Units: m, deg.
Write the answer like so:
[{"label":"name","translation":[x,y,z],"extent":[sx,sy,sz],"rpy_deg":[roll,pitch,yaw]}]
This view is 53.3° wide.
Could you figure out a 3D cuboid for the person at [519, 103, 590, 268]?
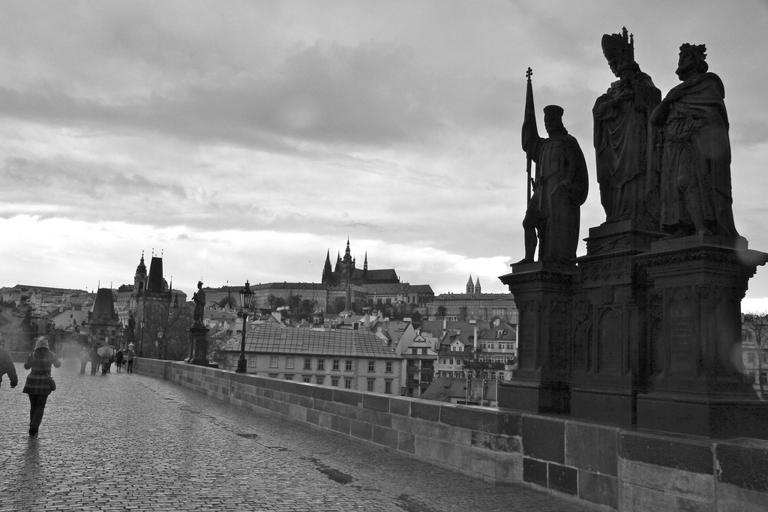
[{"label":"person","translation":[2.757,-1.160,12.423],"extent":[0.990,2.609,0.879],"rpy_deg":[0,-5,16]}]

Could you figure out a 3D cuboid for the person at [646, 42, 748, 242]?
[{"label":"person","translation":[3.943,-1.252,9.738],"extent":[0.959,2.118,0.440],"rpy_deg":[-1,-5,25]}]
